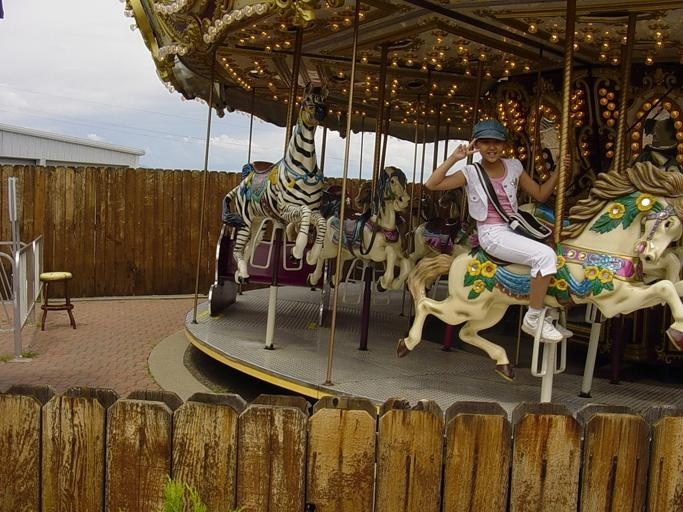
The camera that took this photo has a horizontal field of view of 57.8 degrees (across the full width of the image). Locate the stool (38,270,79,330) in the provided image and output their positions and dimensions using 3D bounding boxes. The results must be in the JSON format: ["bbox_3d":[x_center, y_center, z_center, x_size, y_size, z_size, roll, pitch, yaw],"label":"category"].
[{"bbox_3d":[-4.324,0.663,9.295,0.559,0.978,0.604,-3,13,-24],"label":"stool"}]

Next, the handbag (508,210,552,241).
[{"bbox_3d":[1.492,-0.237,4.860,0.237,0.091,0.242,39,19,27],"label":"handbag"}]
